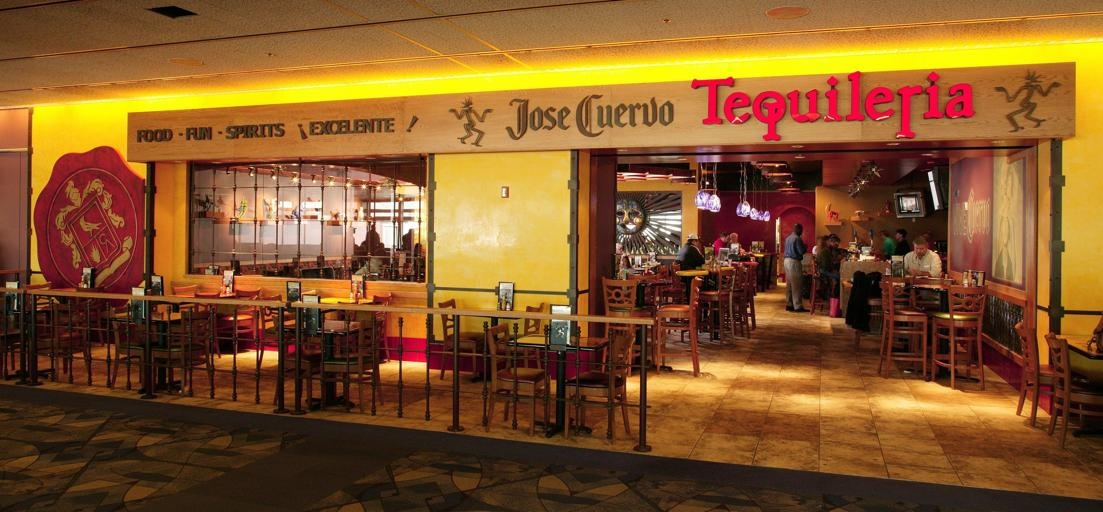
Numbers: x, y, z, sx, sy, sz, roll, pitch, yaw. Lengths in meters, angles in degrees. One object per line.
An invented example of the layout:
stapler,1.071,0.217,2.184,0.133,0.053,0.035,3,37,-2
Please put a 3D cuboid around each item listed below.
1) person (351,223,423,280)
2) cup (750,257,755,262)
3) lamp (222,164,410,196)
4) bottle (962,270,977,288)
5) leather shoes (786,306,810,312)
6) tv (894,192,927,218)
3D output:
person,-3.584,-0.085,15.328,1.992,0.903,0.878,1,0,19
cup,7.010,0.116,24.025,0.149,0.131,0.181,-1,3,-21
lamp,-5.511,-1.734,15.673,5.076,0.734,0.380,3,13,13
bottle,8.604,0.479,14.173,0.284,0.320,0.362,-3,7,-23
leather shoes,7.291,1.575,20.448,0.752,0.188,0.203,-1,0,8
tv,11.055,-1.594,21.187,0.723,0.732,1.089,-2,0,-18
